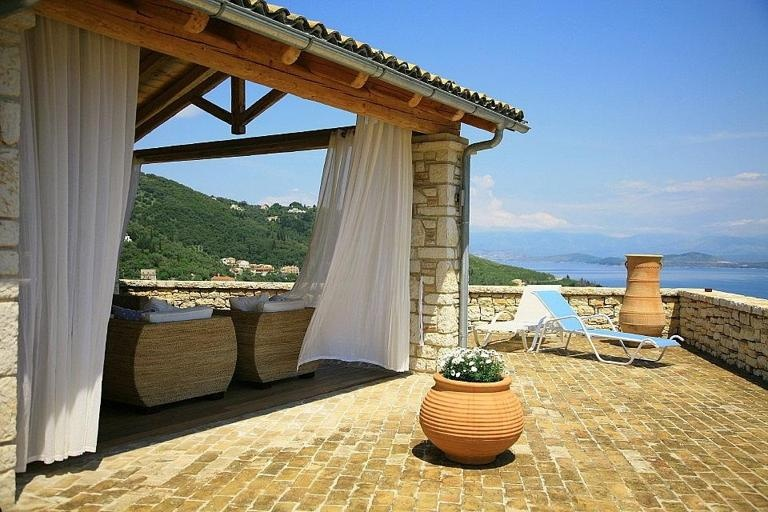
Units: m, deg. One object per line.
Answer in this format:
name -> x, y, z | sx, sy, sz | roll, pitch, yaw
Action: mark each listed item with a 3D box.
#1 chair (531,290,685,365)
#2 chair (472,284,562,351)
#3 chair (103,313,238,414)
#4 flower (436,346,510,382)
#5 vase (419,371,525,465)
chair -> 3.472, 1.141, 7.636 | 2.762, 1.016, 1.430 | -2, -5, 40
chair -> 2.447, 1.025, 8.120 | 1.070, 0.941, 1.987 | 1, 1, 37
chair -> -2.180, 1.085, 4.704 | 1.078, 0.885, 1.549 | 3, 1, 37
flower -> 0.685, 0.858, 3.547 | 0.378, 0.141, 0.339 | 1, -1, -10
vase -> 0.650, 1.238, 3.302 | 0.926, 0.457, 0.765 | 0, -5, 2
